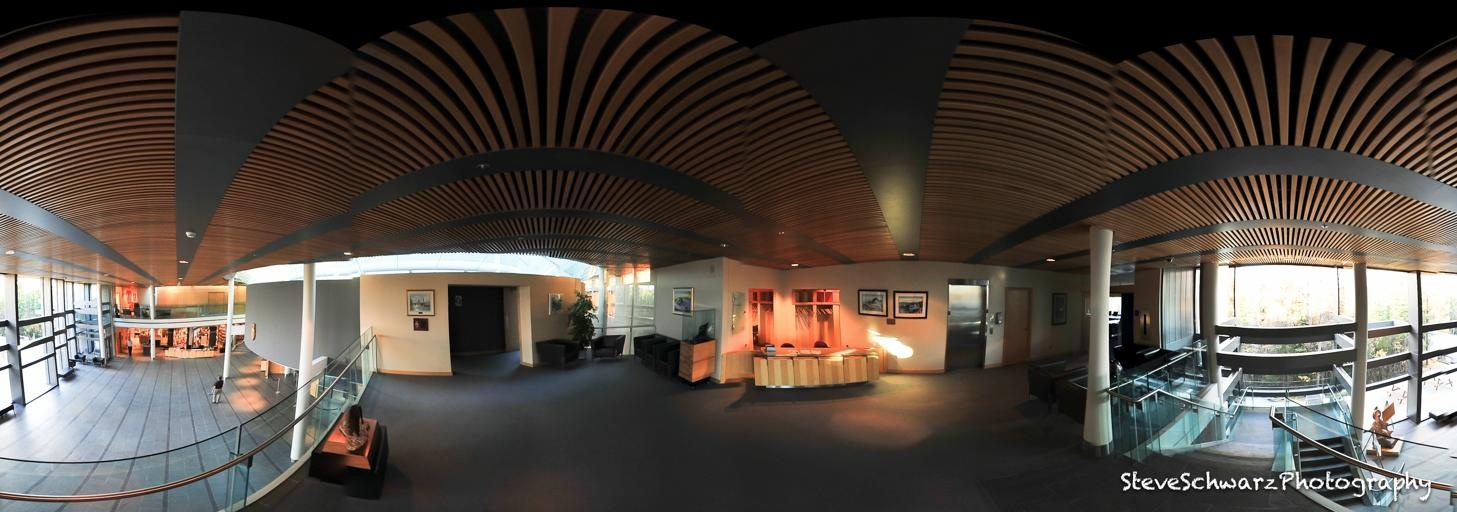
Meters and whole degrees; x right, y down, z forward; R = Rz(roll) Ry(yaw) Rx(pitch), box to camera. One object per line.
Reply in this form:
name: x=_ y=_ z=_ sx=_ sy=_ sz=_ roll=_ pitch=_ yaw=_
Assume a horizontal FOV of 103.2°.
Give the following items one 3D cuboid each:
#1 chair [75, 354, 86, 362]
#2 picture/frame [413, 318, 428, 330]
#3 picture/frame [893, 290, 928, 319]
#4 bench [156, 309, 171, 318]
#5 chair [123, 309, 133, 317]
chair: x=-44.146 y=6.871 z=38.956 sx=0.647 sy=0.363 sz=0.346 roll=-5 pitch=-8 yaw=37
picture/frame: x=-16.502 y=3.651 z=30.467 sx=1.035 sy=0.551 sz=0.237 roll=-1 pitch=-7 yaw=5
picture/frame: x=9.588 y=2.611 z=30.475 sx=2.638 sy=1.301 sz=0.154 roll=0 pitch=-7 yaw=4
bench: x=-40.349 y=4.103 z=40.689 sx=0.963 sy=0.386 sz=0.391 roll=1 pitch=1 yaw=6
chair: x=-43.510 y=4.085 z=41.384 sx=1.245 sy=0.515 sz=0.481 roll=-6 pitch=-8 yaw=40
